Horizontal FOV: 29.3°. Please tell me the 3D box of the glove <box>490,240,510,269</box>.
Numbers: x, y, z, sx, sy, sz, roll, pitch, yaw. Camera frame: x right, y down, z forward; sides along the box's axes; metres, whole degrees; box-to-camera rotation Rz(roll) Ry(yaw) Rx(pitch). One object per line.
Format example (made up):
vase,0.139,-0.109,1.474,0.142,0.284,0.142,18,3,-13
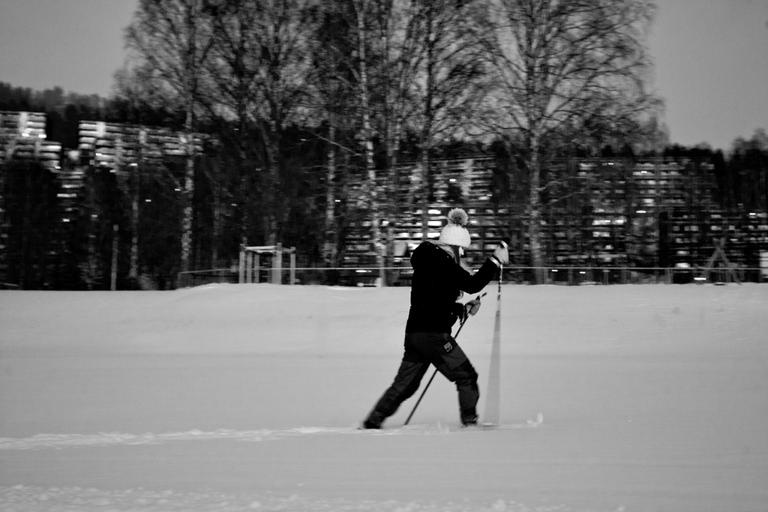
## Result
glove,2.185,-0.035,27.179,0.198,0.410,0.463,15,3,-1
